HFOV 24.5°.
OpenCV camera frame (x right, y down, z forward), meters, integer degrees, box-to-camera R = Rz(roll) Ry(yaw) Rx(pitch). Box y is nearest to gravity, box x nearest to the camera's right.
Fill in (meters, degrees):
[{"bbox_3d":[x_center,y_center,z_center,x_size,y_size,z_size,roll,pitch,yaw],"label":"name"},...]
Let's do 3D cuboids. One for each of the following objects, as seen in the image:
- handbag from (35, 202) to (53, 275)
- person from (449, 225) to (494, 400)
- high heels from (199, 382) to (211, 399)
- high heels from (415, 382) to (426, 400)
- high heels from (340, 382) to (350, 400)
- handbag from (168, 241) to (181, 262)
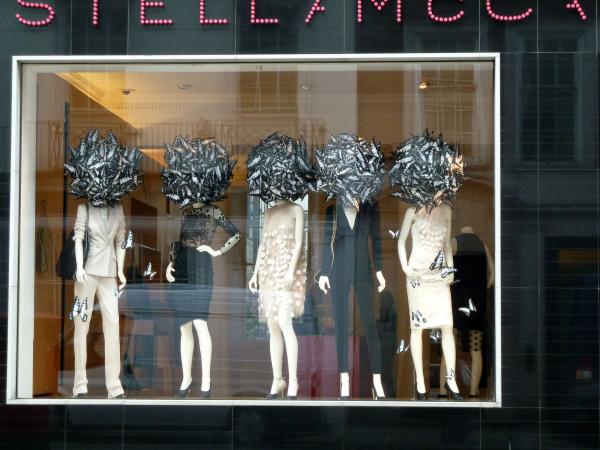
[{"bbox_3d":[-2.368,0.116,12.898,0.167,0.683,0.048,0,-5,-7],"label":"handbag"},{"bbox_3d":[1.584,0.796,12.709,0.379,1.565,0.088,-1,-5,5],"label":"person"},{"bbox_3d":[-0.871,1.524,12.781,0.097,0.154,0.063,0,-5,-4],"label":"high heels"},{"bbox_3d":[1.102,1.533,12.700,0.117,0.134,0.196,0,-10,-3],"label":"high heels"},{"bbox_3d":[0.411,1.531,12.714,0.123,0.197,0.110,-1,-39,1],"label":"high heels"},{"bbox_3d":[-1.168,0.244,12.818,0.162,0.163,0.043,-2,-6,13],"label":"handbag"}]
